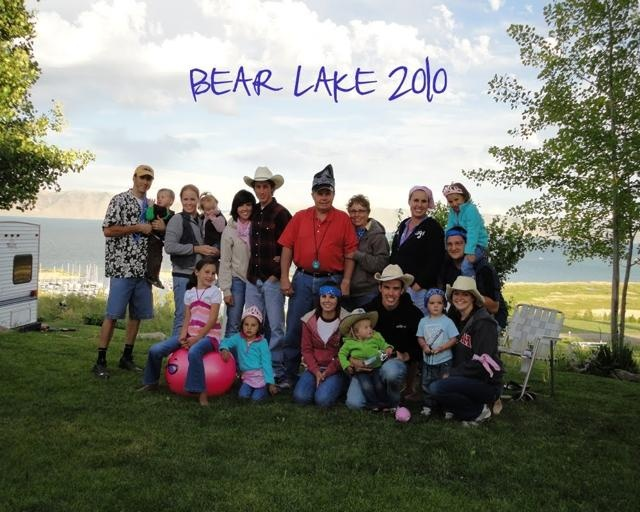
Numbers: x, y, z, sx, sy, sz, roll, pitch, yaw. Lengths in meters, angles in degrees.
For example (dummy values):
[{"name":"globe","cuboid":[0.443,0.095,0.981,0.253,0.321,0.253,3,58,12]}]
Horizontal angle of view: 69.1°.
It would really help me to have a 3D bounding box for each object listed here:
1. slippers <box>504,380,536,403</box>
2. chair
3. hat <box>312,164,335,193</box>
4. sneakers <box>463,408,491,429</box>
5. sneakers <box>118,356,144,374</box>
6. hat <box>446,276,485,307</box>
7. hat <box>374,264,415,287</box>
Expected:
[{"name":"slippers","cuboid":[3.253,2.275,7.731,0.281,0.164,0.479,2,-2,6]},{"name":"chair","cuboid":[3.452,1.596,8.063,1.067,1.607,1.066,12,-4,-36]},{"name":"hat","cuboid":[0.060,-1.154,6.753,0.308,0.303,0.544,3,2,-2]},{"name":"sneakers","cuboid":[2.110,2.163,6.211,0.509,0.228,0.171,16,-17,-40]},{"name":"sneakers","cuboid":[-3.090,1.815,7.813,0.532,0.249,0.179,8,0,22]},{"name":"hat","cuboid":[2.046,0.438,6.569,0.357,0.208,0.485,6,-28,30]},{"name":"hat","cuboid":[1.093,0.277,6.754,0.353,0.174,0.419,-3,-20,14]}]
